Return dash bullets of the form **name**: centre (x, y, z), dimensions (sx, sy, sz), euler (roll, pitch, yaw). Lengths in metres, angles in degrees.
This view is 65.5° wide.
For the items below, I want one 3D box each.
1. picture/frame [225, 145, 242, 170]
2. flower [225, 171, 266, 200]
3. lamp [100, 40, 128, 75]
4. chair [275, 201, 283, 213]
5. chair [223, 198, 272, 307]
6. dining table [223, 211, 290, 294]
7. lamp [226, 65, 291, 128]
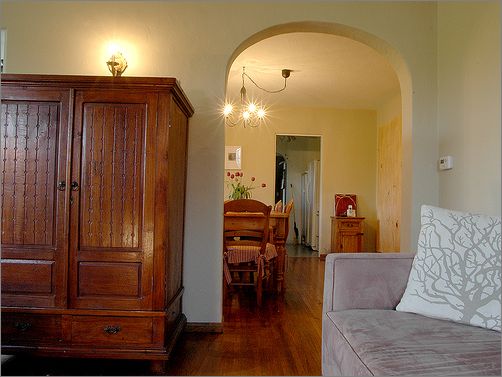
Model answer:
- **picture/frame**: centre (-0.305, -0.511, 6.622), dimensions (0.393, 0.530, 0.020), euler (1, -9, -4)
- **flower**: centre (-0.159, -0.059, 6.290), dimensions (0.630, 0.594, 0.390), euler (-3, 4, -40)
- **lamp**: centre (-1.176, -1.118, 3.378), dimensions (0.165, 0.311, 0.171), euler (0, 2, -3)
- **chair**: centre (0.440, 0.288, 6.071), dimensions (0.113, 0.167, 0.279), euler (-1, 12, 8)
- **chair**: centre (0.006, 0.661, 4.339), dimensions (0.585, 1.126, 1.290), euler (0, 2, -1)
- **dining table**: centre (-0.061, 0.667, 4.315), dimensions (0.612, 1.073, 0.731), euler (2, -2, 13)
- **lamp**: centre (0.023, -1.404, 6.151), dimensions (1.026, 0.842, 0.763), euler (7, 5, 38)
